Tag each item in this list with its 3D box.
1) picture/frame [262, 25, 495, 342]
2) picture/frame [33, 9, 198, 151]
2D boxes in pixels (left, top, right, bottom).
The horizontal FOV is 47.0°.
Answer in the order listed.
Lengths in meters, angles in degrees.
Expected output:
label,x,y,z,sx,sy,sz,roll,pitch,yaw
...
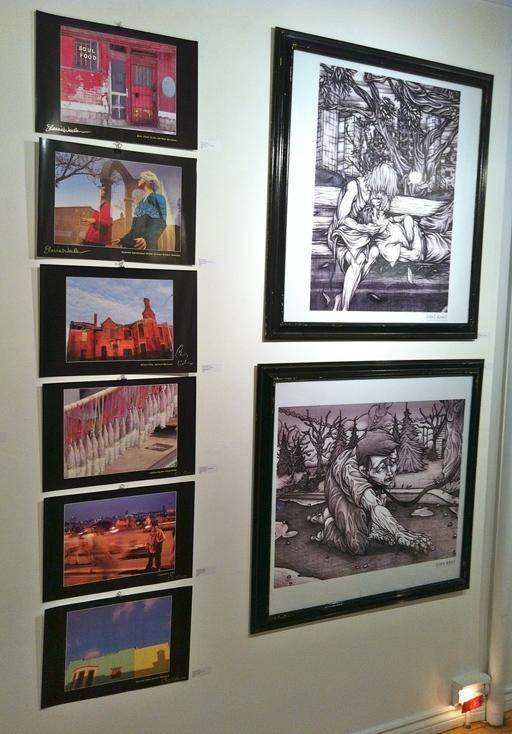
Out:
label,x,y,z,sx,sy,sz,roll,pitch,yaw
picture/frame,0.340,-0.568,1.757,0.898,1.110,0.072,0,10,-25
picture/frame,-0.359,-0.702,1.428,0.347,0.270,0.008,-4,11,-28
